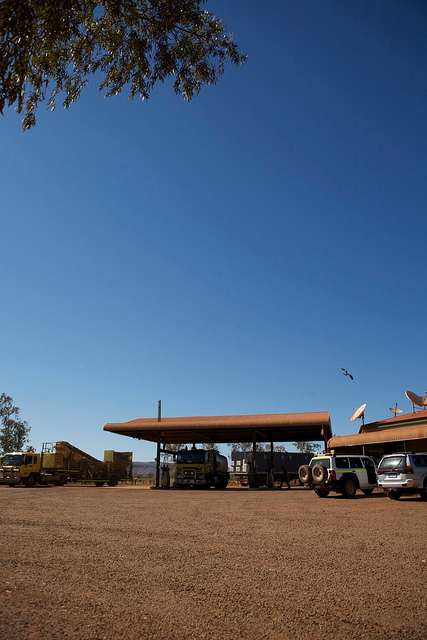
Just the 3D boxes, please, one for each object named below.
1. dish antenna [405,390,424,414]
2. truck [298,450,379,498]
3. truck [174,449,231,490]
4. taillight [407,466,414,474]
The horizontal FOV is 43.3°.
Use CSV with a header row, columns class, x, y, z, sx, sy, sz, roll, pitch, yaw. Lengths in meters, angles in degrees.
class,x,y,z,sx,sy,sz,roll,pitch,yaw
dish antenna,14.277,5.813,38.083,0.937,1.601,0.846,-6,-15,18
truck,5.207,6.331,21.959,2.730,1.663,1.368,5,-16,-25
truck,-0.534,9.828,35.755,1.960,2.574,6.221,-4,-16,16
taillight,6.595,5.059,18.156,0.223,0.215,0.385,-7,-36,18
